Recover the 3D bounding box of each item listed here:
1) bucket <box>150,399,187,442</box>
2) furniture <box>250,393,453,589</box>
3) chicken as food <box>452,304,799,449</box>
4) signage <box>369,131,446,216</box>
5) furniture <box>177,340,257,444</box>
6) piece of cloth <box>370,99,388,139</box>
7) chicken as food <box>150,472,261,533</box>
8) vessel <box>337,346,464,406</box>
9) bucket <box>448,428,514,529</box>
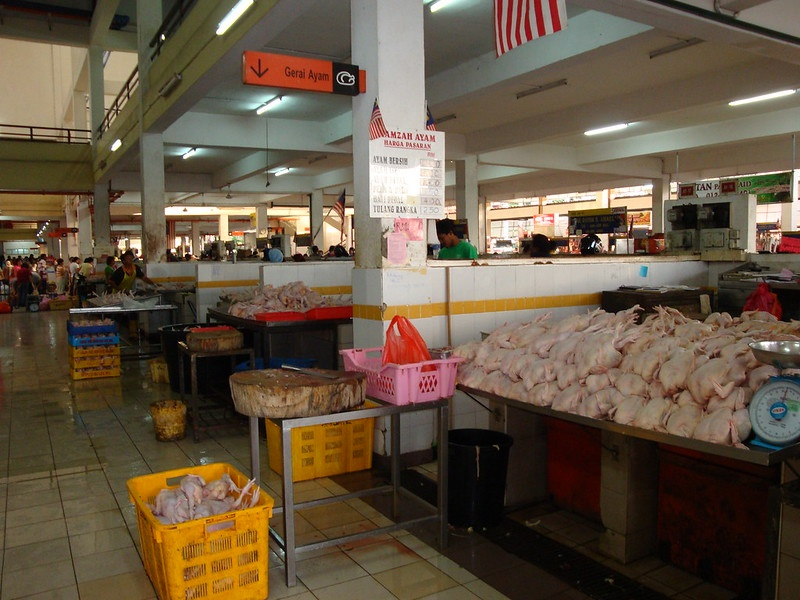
[{"bbox_3d":[-2.287,1.139,6.056,0.362,0.397,0.360,1,9,0],"label":"bucket"},{"bbox_3d":[-0.351,1.218,4.268,1.245,0.997,0.980,-2,-1,-17],"label":"furniture"},{"bbox_3d":[1.493,0.376,3.979,1.905,0.592,1.076,3,9,41],"label":"chicken as food"},{"bbox_3d":[0.029,-1.051,5.037,0.698,0.735,0.035,-2,5,-24],"label":"signage"},{"bbox_3d":[-1.989,1.015,6.591,0.590,0.910,1.193,0,-9,-19],"label":"furniture"},{"bbox_3d":[-0.188,-1.477,4.998,0.151,0.337,0.126,-5,7,-15],"label":"piece of cloth"},{"bbox_3d":[-1.185,1.197,3.683,0.407,0.156,0.329,-1,3,-37],"label":"chicken as food"},{"bbox_3d":[-0.001,0.522,4.106,0.407,0.222,0.610,0,5,-31],"label":"vessel"},{"bbox_3d":[0.536,1.292,4.523,0.592,0.608,0.572,2,-2,0],"label":"bucket"}]
